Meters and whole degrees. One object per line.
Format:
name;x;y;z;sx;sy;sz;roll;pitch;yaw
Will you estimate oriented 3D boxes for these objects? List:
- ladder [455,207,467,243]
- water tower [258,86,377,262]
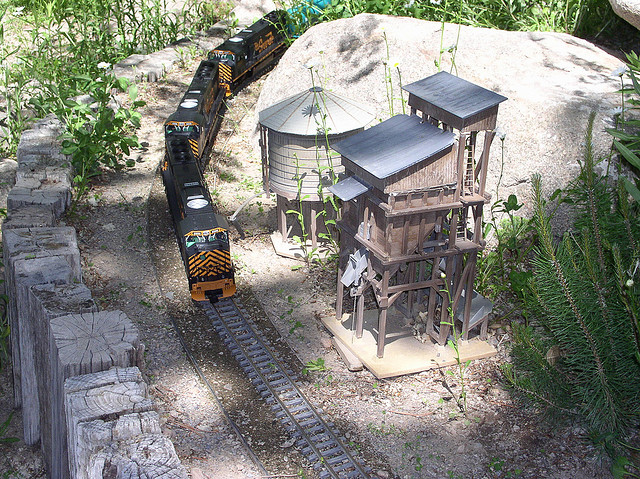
ladder;2.434;-0.239;10.514;0.198;0.403;0.805;9;30;12
water tower;-0.279;-1.296;13.543;2.327;3.224;2.330;-6;19;-37
